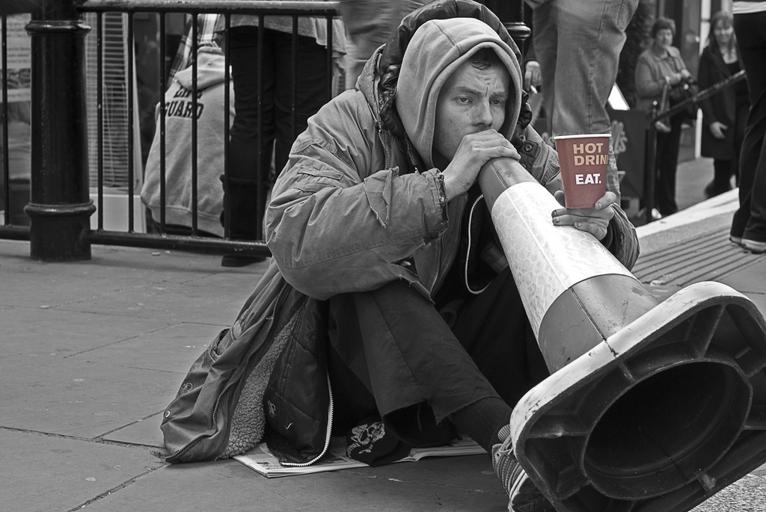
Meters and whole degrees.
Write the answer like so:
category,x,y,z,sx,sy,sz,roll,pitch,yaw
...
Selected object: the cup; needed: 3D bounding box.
category,x,y,z,sx,sy,sz,roll,pitch,yaw
cup,0.603,-0.254,3.167,0.211,0.233,0.215,-1,8,0
